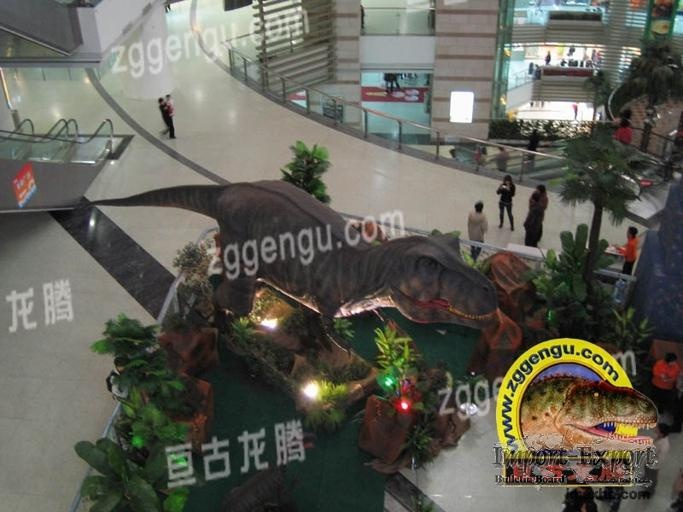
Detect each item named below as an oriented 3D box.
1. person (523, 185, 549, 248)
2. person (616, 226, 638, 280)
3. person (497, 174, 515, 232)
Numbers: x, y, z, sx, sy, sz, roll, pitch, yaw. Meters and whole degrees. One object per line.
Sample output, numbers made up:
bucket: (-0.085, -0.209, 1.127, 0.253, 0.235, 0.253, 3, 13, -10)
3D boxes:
person: (3.604, -0.750, 9.570, 0.370, 1.133, 0.919, 2, 4, 20)
person: (4.990, -0.128, 8.971, 0.310, 0.792, 1.253, 2, 5, 30)
person: (3.314, -1.074, 10.360, 0.321, 1.099, 0.893, 2, 4, 18)
